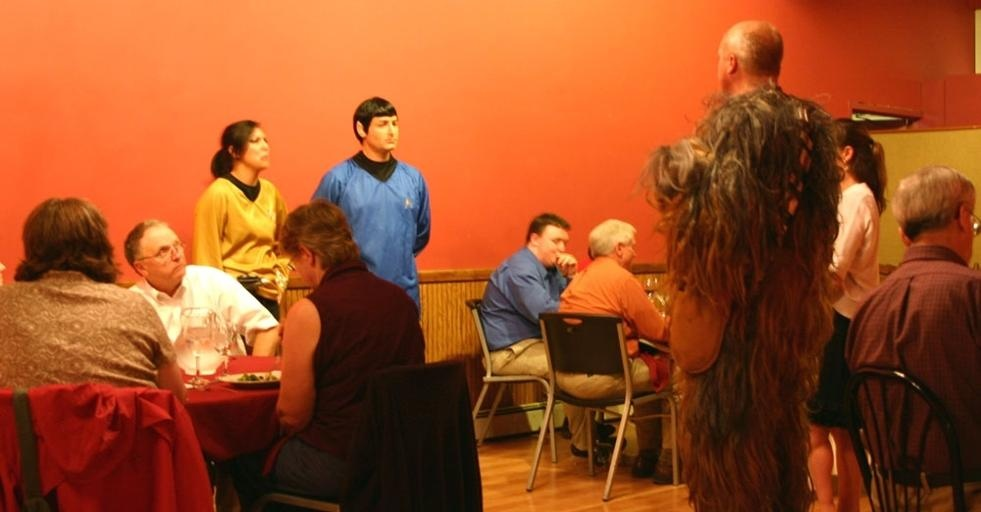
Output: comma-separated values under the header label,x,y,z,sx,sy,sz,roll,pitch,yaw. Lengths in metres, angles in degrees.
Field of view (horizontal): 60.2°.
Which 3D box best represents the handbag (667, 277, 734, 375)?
label,x,y,z,sx,sy,sz,roll,pitch,yaw
handbag,0.949,0.335,3.919,0.249,0.377,0.104,8,11,18
